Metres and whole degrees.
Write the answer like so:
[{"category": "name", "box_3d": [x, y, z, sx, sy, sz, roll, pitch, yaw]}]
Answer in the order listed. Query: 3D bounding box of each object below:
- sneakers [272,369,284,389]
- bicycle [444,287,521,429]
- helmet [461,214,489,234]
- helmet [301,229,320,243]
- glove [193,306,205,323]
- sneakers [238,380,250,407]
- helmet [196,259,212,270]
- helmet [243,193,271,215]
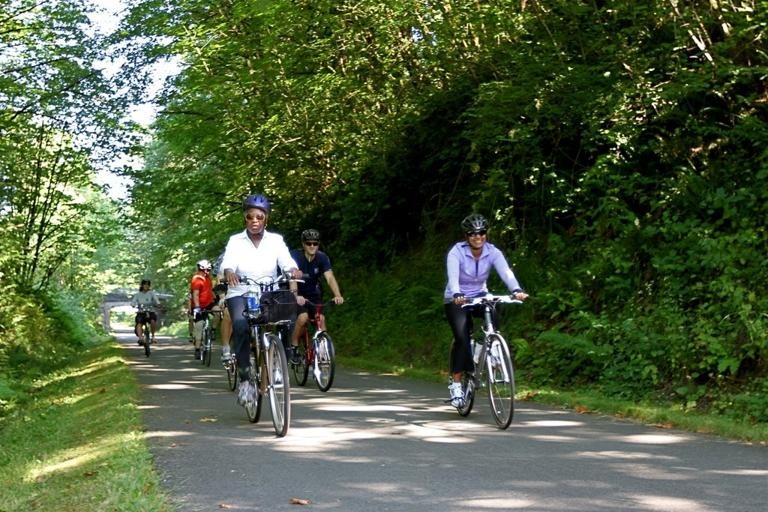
[{"category": "sneakers", "box_3d": [-1.492, 1.729, 13.056, 0.196, 0.241, 0.102, -2, 10, -4]}, {"category": "bicycle", "box_3d": [1.558, 1.554, 13.911, 0.697, 2.007, 1.378, -3, 7, -12]}, {"category": "helmet", "box_3d": [1.360, -0.468, 14.051, 0.350, 0.282, 0.513, -1, 6, 2]}, {"category": "helmet", "box_3d": [-1.380, -0.370, 17.278, 0.316, 0.183, 0.411, 3, 8, -6]}, {"category": "glove", "box_3d": [-4.560, 1.434, 22.769, 0.282, 0.197, 0.417, 8, -15, -25]}, {"category": "sneakers", "box_3d": [-2.039, 2.037, 13.751, 0.104, 0.349, 0.239, 14, -22, -41]}, {"category": "helmet", "box_3d": [-4.410, 0.245, 22.627, 0.369, 0.305, 0.284, -2, 10, 37]}, {"category": "helmet", "box_3d": [-1.863, -0.775, 13.611, 0.330, 0.363, 0.255, 6, 7, 5]}]
